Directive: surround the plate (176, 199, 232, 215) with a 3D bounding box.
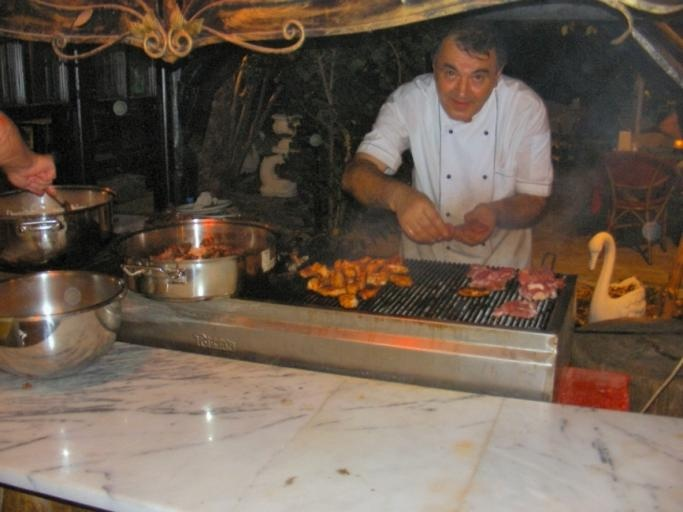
[{"bbox_3d":[-0.529,-0.191,2.249,0.235,0.067,0.032,5,16,15],"label":"plate"}]

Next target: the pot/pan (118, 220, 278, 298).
[{"bbox_3d":[-0.479,0.004,1.999,0.498,0.213,0.345,-3,16,-15],"label":"pot/pan"}]

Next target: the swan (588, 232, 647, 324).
[{"bbox_3d":[0.901,0.057,1.897,0.211,0.361,0.145,-6,23,28],"label":"swan"}]
